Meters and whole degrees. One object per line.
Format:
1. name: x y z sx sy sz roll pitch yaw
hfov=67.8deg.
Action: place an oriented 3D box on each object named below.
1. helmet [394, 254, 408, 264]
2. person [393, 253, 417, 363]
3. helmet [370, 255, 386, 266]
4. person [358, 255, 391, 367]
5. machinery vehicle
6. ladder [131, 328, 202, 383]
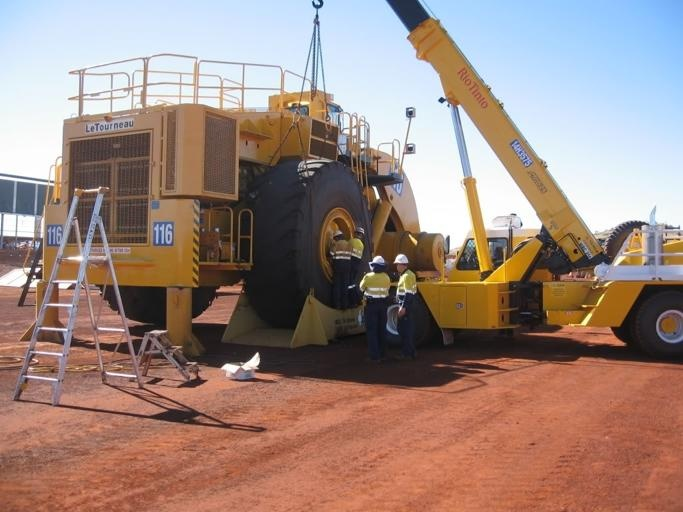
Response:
1. helmet: 1.214 0.072 10.146 0.284 0.199 0.220 3 -3 -9
2. person: 1.293 0.954 10.198 0.419 1.955 1.339 1 0 8
3. helmet: 0.706 0.121 9.686 0.276 0.115 0.200 12 1 -11
4. person: 0.663 0.980 9.569 0.531 1.926 0.492 1 0 -27
5. machinery vehicle: -3.118 -0.784 14.385 6.435 5.647 9.870 -2 -3 17
6. ladder: -2.915 1.621 8.468 1.215 0.948 0.708 0 -1 6
